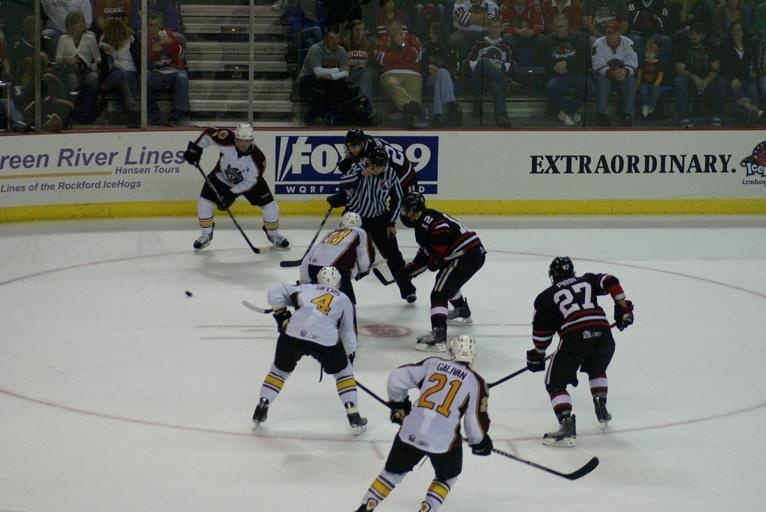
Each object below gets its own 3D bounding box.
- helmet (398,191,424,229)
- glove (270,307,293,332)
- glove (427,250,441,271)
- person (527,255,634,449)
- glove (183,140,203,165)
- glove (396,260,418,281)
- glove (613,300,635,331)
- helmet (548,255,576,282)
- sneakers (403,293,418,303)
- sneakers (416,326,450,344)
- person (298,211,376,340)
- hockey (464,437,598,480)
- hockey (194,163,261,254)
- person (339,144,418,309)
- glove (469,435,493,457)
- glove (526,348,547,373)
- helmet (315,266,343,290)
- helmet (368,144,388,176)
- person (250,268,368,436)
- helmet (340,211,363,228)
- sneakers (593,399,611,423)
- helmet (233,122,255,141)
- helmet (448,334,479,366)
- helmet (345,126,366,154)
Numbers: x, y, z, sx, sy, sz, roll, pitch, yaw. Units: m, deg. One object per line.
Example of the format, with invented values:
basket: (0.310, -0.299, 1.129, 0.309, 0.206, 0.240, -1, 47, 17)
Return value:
helmet: (0.322, -0.493, 11.743, 0.245, 0.370, 0.421, 0, 7, -1)
glove: (-0.937, 0.635, 10.179, 0.174, 0.225, 0.198, -25, 57, -18)
glove: (0.568, 0.055, 11.598, 0.177, 0.213, 0.157, -4, 8, -25)
person: (1.840, 0.854, 10.167, 0.949, 1.614, 0.798, -2, 8, -10)
glove: (-2.470, -1.307, 14.233, 0.259, 0.312, 0.154, 21, -17, 5)
glove: (0.263, 0.169, 12.002, 0.231, 0.092, 0.168, -24, -11, -9)
glove: (2.325, 0.567, 10.495, 0.197, 0.274, 0.118, 7, 15, 11)
helmet: (1.718, 0.123, 10.421, 0.205, 0.244, 0.246, -1, 10, -1)
sneakers: (0.326, 0.491, 12.622, 0.116, 0.097, 0.118, -1, 0, 7)
sneakers: (0.511, 0.833, 11.449, 0.255, 0.154, 0.166, 4, -1, 2)
person: (-0.499, 0.228, 11.325, 0.686, 1.427, 0.535, 5, -8, 8)
hockey: (1.331, 1.751, 9.505, 1.077, 0.042, 0.351, 10, 33, 20)
hockey: (-2.104, -0.634, 14.545, 0.121, 1.415, 0.204, -30, 8, -6)
person: (-0.107, -0.408, 12.892, 1.069, 2.250, 0.621, 1, 31, 3)
glove: (0.843, 1.611, 9.269, 0.153, 0.176, 0.191, -1, 2, 5)
glove: (1.438, 0.972, 10.220, 0.156, 0.184, 0.208, 3, -18, 9)
helmet: (-0.510, 0.208, 10.108, 0.176, 0.202, 0.217, 5, 8, 3)
helmet: (-0.053, -1.072, 12.494, 0.243, 0.334, 0.278, 0, 8, -1)
person: (-0.667, 0.858, 10.064, 1.019, 1.492, 0.436, 0, 8, -2)
helmet: (-0.328, -0.364, 11.379, 0.147, 0.183, 0.192, -1, -13, -3)
sneakers: (2.028, 1.411, 10.058, 0.114, 0.195, 0.269, -9, 17, 16)
helmet: (-1.772, -1.546, 13.844, 0.209, 0.254, 0.266, 2, -23, -7)
helmet: (0.685, 0.796, 9.285, 0.198, 0.247, 0.257, 4, 10, 2)
helmet: (-0.316, -1.318, 12.746, 0.213, 0.274, 0.287, 1, -1, 0)
